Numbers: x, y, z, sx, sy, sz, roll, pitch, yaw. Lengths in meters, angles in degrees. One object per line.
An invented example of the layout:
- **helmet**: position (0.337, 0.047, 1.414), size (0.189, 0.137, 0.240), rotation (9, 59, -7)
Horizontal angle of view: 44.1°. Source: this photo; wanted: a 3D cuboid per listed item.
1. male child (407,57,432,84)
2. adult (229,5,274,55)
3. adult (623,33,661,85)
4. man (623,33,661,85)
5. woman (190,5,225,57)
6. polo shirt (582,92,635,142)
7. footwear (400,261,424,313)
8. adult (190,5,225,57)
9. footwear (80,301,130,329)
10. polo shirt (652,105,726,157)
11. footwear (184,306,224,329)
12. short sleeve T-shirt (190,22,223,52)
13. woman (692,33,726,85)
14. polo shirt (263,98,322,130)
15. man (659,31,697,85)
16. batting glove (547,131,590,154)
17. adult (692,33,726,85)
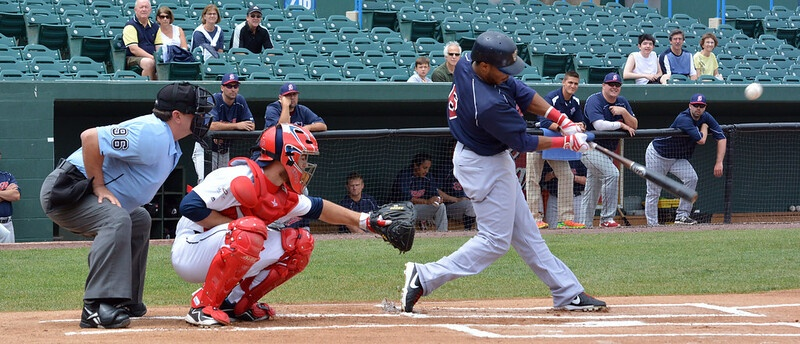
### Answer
- **male child**: position (0.565, -2.574, 25.385), size (0.860, 0.638, 0.484), rotation (-2, 4, 1)
- **adult**: position (-3.970, -3.776, 25.828), size (1.308, 1.261, 1.274), rotation (-7, 28, -29)
- **adult**: position (6.443, -2.955, 25.958), size (1.095, 1.309, 0.629), rotation (-2, 5, -9)
- **man**: position (6.449, -2.956, 25.960), size (1.103, 1.309, 0.615), rotation (-2, 5, -10)
- **woman**: position (-4.959, -3.552, 25.223), size (0.784, 1.434, 0.658), rotation (-2, 5, -10)
- **polo shirt**: position (5.010, -1.280, 23.704), size (1.253, 1.145, 0.970), rotation (-21, 38, -35)
- **footwear**: position (0.234, 2.339, 20.072), size (0.639, 0.984, 0.381), rotation (7, 3, 3)
- **adult**: position (-4.959, -3.552, 25.223), size (0.784, 1.434, 0.658), rotation (-2, 5, -10)
- **footwear**: position (-5.802, 2.817, 19.222), size (1.061, 0.367, 0.437), rotation (0, 5, 4)
- **polo shirt**: position (6.858, -0.892, 24.159), size (1.753, 1.238, 1.068), rotation (5, -7, 26)
- **footwear**: position (-3.830, 2.839, 19.214), size (0.664, 0.197, 0.374), rotation (0, -1, 4)
- **short sleeve T-shirt**: position (-4.951, -3.398, 25.495), size (1.301, 0.765, 0.658), rotation (0, -3, -15)
- **woman**: position (8.386, -3.133, 26.836), size (0.765, 1.260, 0.669), rotation (0, 5, 5)
- **polo shirt**: position (-2.558, -1.342, 23.295), size (1.183, 0.615, 0.897), rotation (-4, -3, 39)
- **man**: position (7.464, -3.113, 26.402), size (0.683, 1.291, 0.920), rotation (4, 7, 43)
- **batting glove**: position (3.404, -0.576, 19.820), size (0.797, 0.249, 0.334), rotation (1, -19, 0)
- **adult**: position (8.385, -3.134, 26.836), size (0.764, 1.260, 0.665), rotation (0, 5, 4)
